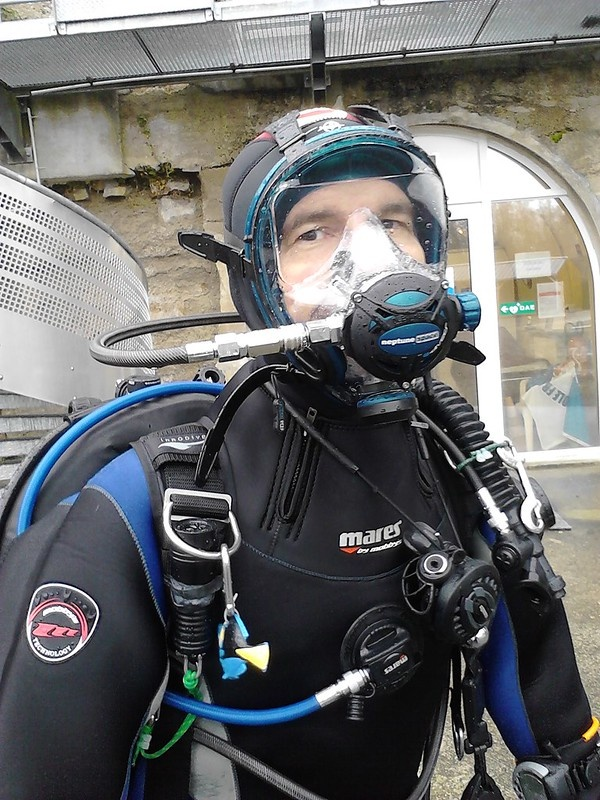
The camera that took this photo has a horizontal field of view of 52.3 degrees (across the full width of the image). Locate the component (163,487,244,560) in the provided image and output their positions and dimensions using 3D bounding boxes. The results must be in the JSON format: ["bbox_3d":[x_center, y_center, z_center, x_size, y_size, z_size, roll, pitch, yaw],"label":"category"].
[{"bbox_3d":[-0.161,0.202,0.996,0.124,0.113,0.129,-5,4,-18],"label":"component"}]

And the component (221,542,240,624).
[{"bbox_3d":[-0.117,0.291,0.986,0.021,0.126,0.082,-5,4,-9],"label":"component"}]

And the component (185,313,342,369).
[{"bbox_3d":[-0.047,-0.099,0.954,0.283,0.063,0.044,-7,5,-35],"label":"component"}]

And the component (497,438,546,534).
[{"bbox_3d":[0.456,0.179,1.309,0.065,0.024,0.212,-1,44,-18],"label":"component"}]

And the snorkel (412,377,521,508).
[{"bbox_3d":[0.364,0.075,1.442,0.135,0.094,0.456,-29,43,-2],"label":"snorkel"}]

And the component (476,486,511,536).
[{"bbox_3d":[0.386,0.223,1.226,0.035,0.032,0.107,-26,44,11],"label":"component"}]
